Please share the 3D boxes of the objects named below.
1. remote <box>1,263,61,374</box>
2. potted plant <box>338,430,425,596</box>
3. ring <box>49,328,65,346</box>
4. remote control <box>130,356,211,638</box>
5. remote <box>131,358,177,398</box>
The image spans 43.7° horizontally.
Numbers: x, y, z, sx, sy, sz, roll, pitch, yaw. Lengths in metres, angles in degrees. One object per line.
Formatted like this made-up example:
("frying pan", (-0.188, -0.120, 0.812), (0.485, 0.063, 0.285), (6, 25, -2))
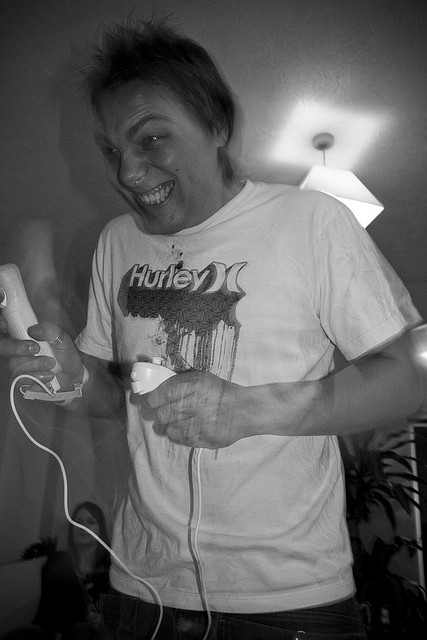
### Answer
("remote", (-0.293, -0.003, 0.780), (0.064, 0.159, 0.143), (-15, 23, -41))
("potted plant", (0.225, 0.247, 0.690), (0.108, 0.190, 0.088), (-2, 18, -7))
("ring", (-0.218, 0.022, 0.751), (0.020, 0.015, 0.020), (-26, 41, 25))
("remote control", (-0.078, 0.210, 0.702), (0.106, 0.315, 0.196), (3, -9, -23))
("remote", (-0.069, 0.072, 0.714), (0.087, 0.041, 0.061), (2, -9, -27))
